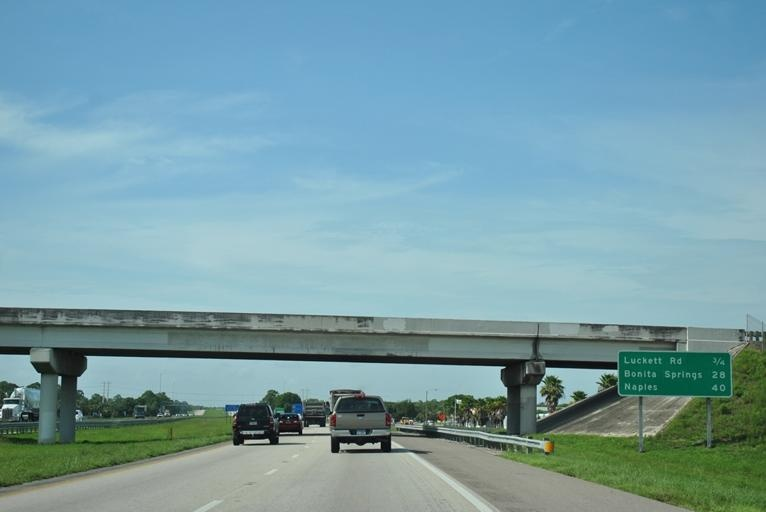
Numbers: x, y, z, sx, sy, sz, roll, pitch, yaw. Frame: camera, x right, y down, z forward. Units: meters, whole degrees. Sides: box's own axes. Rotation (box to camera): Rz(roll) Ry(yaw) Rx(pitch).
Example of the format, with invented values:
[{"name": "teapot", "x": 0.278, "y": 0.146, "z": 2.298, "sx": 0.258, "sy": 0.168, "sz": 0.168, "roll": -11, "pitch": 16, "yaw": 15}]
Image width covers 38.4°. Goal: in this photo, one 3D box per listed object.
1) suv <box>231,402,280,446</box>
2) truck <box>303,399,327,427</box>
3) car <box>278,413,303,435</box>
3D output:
[{"name": "suv", "x": -8.747, "y": 11.512, "z": 76.264, "sx": 2.977, "sy": 2.902, "sz": 2.418, "roll": -1, "pitch": -11, "yaw": 9}, {"name": "truck", "x": -7.478, "y": 17.326, "z": 122.754, "sx": 2.580, "sy": 2.916, "sz": 3.285, "roll": 2, "pitch": -12, "yaw": -5}, {"name": "car", "x": -7.900, "y": 14.302, "z": 94.645, "sx": 1.975, "sy": 1.942, "sz": 3.040, "roll": 2, "pitch": -12, "yaw": -7}]
